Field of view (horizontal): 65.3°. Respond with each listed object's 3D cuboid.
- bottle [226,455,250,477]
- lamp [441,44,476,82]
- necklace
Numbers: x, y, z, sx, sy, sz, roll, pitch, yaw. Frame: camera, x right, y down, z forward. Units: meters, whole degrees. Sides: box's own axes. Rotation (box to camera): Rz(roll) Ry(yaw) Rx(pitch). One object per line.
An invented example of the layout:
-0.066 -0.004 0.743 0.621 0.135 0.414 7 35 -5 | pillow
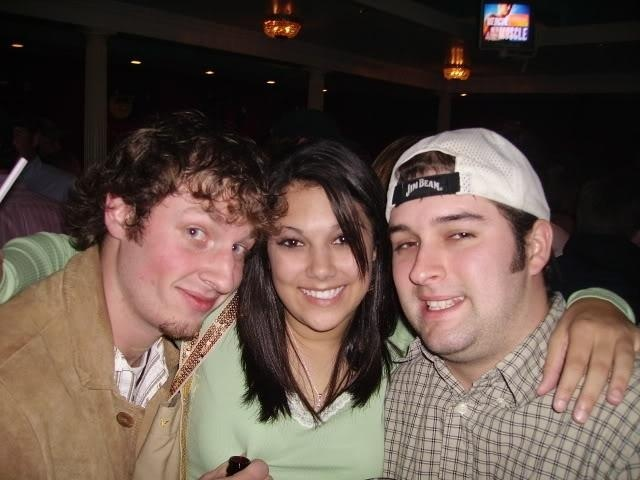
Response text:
-0.457 1.267 2.854 0.111 0.111 0.110 10 -6 -41 | bottle
3.674 -4.738 13.383 0.779 1.153 0.831 -11 19 -24 | lamp
-0.050 0.825 3.276 0.264 0.467 0.110 0 -24 -22 | necklace
